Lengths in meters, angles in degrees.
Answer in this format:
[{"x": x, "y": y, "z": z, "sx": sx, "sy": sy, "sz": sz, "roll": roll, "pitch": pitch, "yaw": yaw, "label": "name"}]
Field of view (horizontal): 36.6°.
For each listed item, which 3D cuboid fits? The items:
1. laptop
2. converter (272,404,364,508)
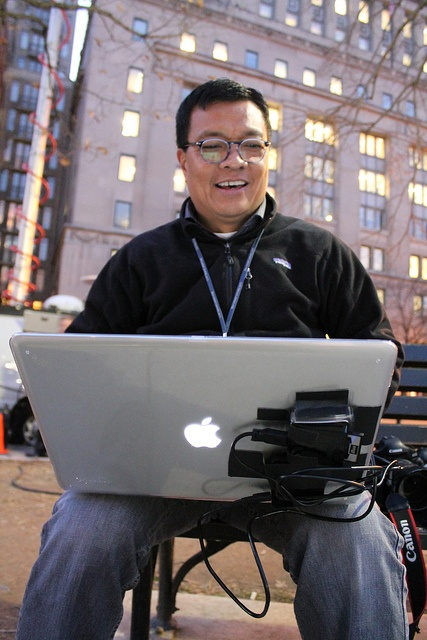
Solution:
[{"x": -0.039, "y": 0.235, "z": 1.524, "sx": 0.839, "sy": 0.377, "sz": 0.285, "roll": 6, "pitch": -2, "yaw": 7, "label": "laptop"}, {"x": 0.259, "y": 0.291, "z": 1.524, "sx": 0.219, "sy": 0.273, "sz": 0.099, "roll": 0, "pitch": 29, "yaw": 4, "label": "converter"}]
